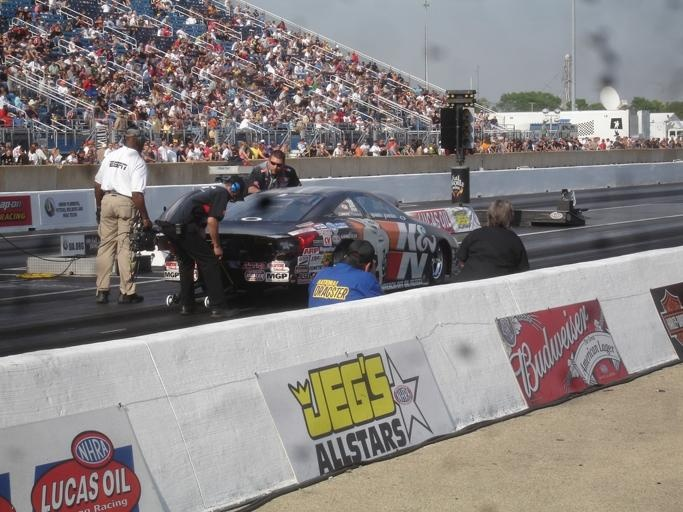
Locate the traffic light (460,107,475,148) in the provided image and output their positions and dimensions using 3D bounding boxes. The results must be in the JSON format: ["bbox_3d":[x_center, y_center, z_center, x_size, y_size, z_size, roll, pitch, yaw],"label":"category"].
[{"bbox_3d":[2.548,-2.572,16.359,0.192,0.824,0.247,-1,9,-8],"label":"traffic light"}]

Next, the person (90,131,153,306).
[{"bbox_3d":[-2.758,-0.466,10.083,0.835,2.200,0.283,3,9,18],"label":"person"}]

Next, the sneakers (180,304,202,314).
[{"bbox_3d":[-1.787,0.623,9.607,0.263,0.132,0.107,-8,14,-30],"label":"sneakers"}]

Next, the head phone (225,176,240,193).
[{"bbox_3d":[-1.223,-0.807,9.056,0.129,0.105,0.179,30,-19,-1],"label":"head phone"}]

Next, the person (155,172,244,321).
[{"bbox_3d":[-1.609,-0.090,9.179,0.885,1.626,0.558,4,9,21],"label":"person"}]

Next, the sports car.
[{"bbox_3d":[-0.047,-0.287,10.089,1.509,0.875,2.718,4,7,40],"label":"sports car"}]

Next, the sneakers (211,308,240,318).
[{"bbox_3d":[-1.333,0.631,9.224,0.331,0.160,0.125,-2,8,-22],"label":"sneakers"}]

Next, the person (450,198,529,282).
[{"bbox_3d":[1.496,-0.133,8.033,0.681,0.803,0.677,0,9,-3],"label":"person"}]

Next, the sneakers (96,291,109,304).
[{"bbox_3d":[-3.085,0.524,10.354,0.125,0.179,0.173,1,8,-9],"label":"sneakers"}]
